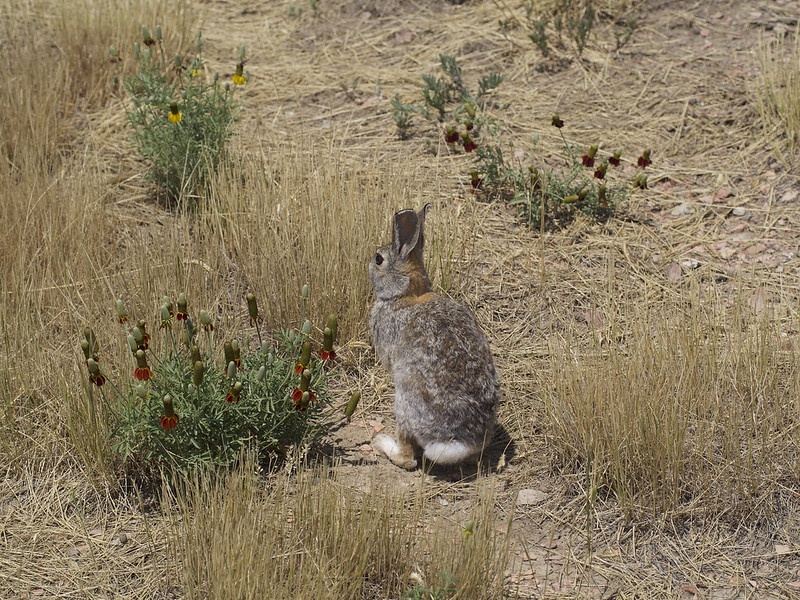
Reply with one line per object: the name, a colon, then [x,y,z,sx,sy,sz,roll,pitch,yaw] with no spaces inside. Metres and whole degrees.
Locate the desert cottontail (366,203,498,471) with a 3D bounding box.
desert cottontail: [0.176,0.295,6.396,0.869,1.320,1.235,-13,36,-13]
